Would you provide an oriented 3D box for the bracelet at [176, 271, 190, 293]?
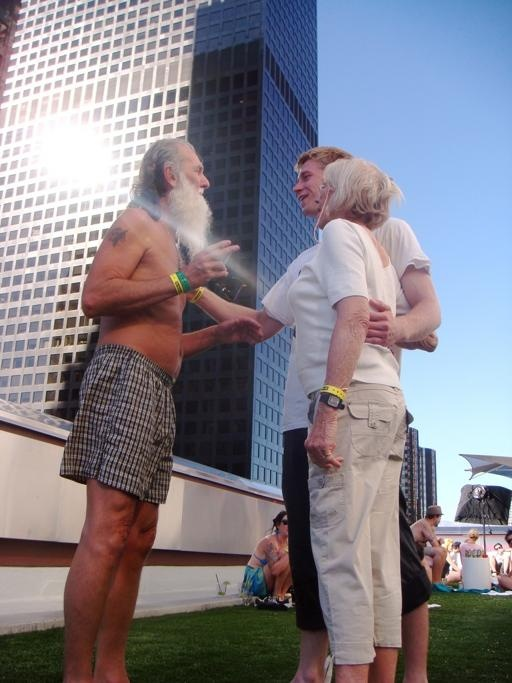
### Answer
[{"bbox_3d":[-0.245,-0.198,2.050,0.049,0.037,0.050,-38,-46,18],"label":"bracelet"}]

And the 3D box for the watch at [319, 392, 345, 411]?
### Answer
[{"bbox_3d":[0.196,0.151,1.589,0.057,0.060,0.038,3,-57,-55],"label":"watch"}]

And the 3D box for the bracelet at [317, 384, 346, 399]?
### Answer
[{"bbox_3d":[0.197,0.140,1.626,0.039,0.052,0.050,-10,-18,-37],"label":"bracelet"}]
